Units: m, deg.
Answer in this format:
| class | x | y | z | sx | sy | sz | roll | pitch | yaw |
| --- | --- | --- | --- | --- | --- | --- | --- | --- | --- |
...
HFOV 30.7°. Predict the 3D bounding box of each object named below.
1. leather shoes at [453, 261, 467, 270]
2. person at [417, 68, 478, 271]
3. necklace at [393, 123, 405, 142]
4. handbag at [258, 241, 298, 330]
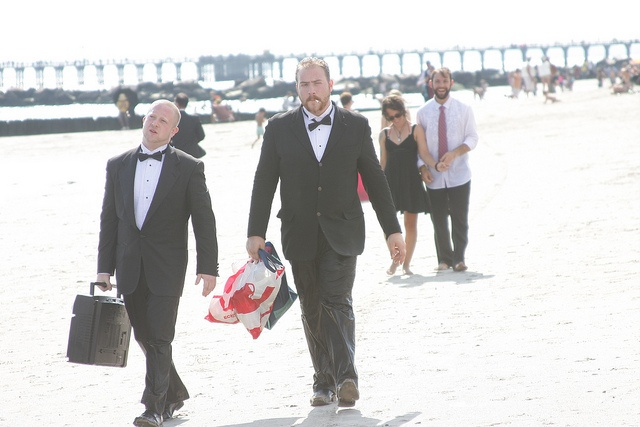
| class | x | y | z | sx | sy | sz | roll | pitch | yaw |
| --- | --- | --- | --- | --- | --- | --- | --- | --- | --- |
| leather shoes | 1.923 | 0.761 | 16.387 | 0.184 | 0.127 | 0.084 | -3 | 4 | -1 |
| person | 1.759 | -0.620 | 16.513 | 0.794 | 2.871 | 0.503 | -1 | 4 | 29 |
| necklace | 1.084 | -1.149 | 16.587 | 0.082 | 0.250 | 0.017 | 0 | -14 | 24 |
| handbag | -0.489 | 0.832 | 13.235 | 0.295 | 0.820 | 0.675 | 7 | 40 | 31 |
